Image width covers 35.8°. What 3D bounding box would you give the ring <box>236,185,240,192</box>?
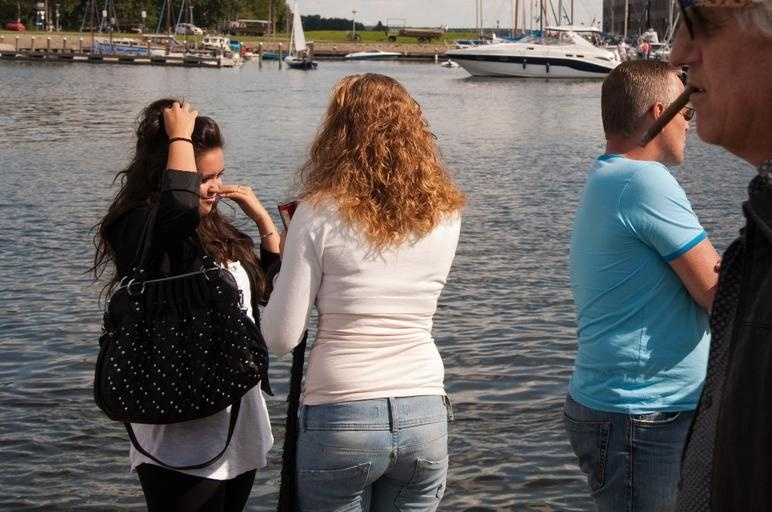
[{"bbox_3d":[-0.861,-0.400,6.942,0.014,0.030,0.024,3,-7,-25],"label":"ring"}]

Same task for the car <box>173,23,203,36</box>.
[{"bbox_3d":[-17.420,-19.906,104.796,2.770,0.851,1.241,12,23,36],"label":"car"}]

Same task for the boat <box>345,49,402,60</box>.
[{"bbox_3d":[-1.225,-18.634,111.439,1.960,0.840,5.964,9,16,38],"label":"boat"}]
